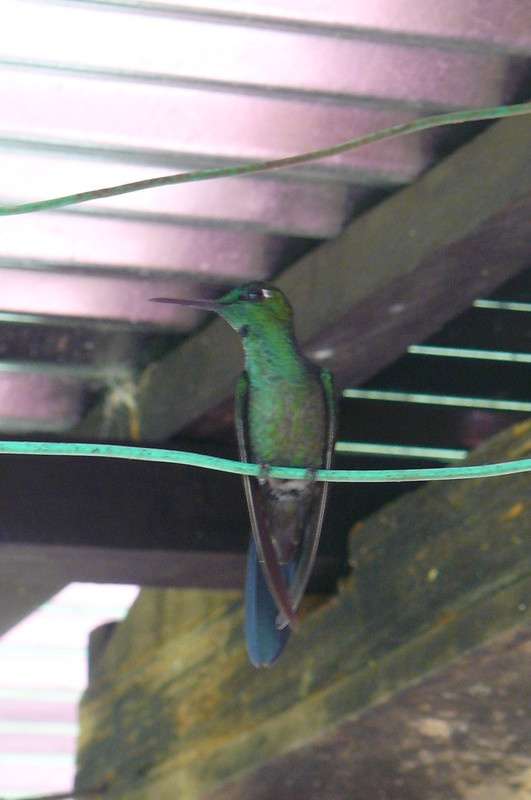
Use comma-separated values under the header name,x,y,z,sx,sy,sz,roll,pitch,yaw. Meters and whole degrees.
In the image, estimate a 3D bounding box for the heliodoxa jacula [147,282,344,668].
name,x,y,z,sx,sy,sz,roll,pitch,yaw
heliodoxa jacula,0.001,0.087,1.107,0.202,0.486,0.187,-10,-6,4
